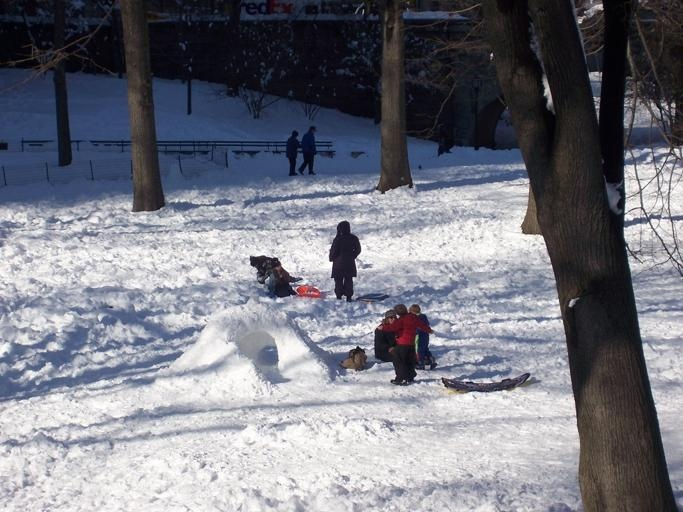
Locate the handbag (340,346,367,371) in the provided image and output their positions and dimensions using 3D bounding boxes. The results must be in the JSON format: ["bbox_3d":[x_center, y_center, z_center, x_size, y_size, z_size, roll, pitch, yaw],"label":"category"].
[{"bbox_3d":[0.243,1.926,19.013,0.438,0.528,0.348,-2,-2,14],"label":"handbag"}]

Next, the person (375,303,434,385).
[{"bbox_3d":[1.171,1.577,18.790,0.739,1.345,0.793,-5,9,-12],"label":"person"}]

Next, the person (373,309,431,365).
[{"bbox_3d":[1.141,1.539,19.340,1.037,1.212,0.722,4,-3,4],"label":"person"}]

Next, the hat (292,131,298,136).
[{"bbox_3d":[-1.452,-3.803,32.393,0.149,0.186,0.182,1,5,-11],"label":"hat"}]

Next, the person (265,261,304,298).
[{"bbox_3d":[-1.306,0.581,22.190,0.627,0.396,0.723,-18,47,-16],"label":"person"}]

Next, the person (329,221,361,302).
[{"bbox_3d":[0.069,0.125,22.216,0.657,1.703,0.430,-4,9,-7],"label":"person"}]

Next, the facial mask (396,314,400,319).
[{"bbox_3d":[1.028,1.119,18.931,0.073,0.040,0.103,0,-1,-1],"label":"facial mask"}]

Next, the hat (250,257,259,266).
[{"bbox_3d":[-1.911,0.140,22.470,0.110,0.228,0.275,-8,10,-30],"label":"hat"}]

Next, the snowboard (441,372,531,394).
[{"bbox_3d":[2.507,2.314,18.320,1.778,0.473,0.555,-1,0,3],"label":"snowboard"}]

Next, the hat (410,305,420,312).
[{"bbox_3d":[1.340,0.972,18.827,0.107,0.153,0.150,0,4,6],"label":"hat"}]

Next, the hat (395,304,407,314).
[{"bbox_3d":[1.083,0.986,18.860,0.134,0.194,0.187,3,9,14],"label":"hat"}]
